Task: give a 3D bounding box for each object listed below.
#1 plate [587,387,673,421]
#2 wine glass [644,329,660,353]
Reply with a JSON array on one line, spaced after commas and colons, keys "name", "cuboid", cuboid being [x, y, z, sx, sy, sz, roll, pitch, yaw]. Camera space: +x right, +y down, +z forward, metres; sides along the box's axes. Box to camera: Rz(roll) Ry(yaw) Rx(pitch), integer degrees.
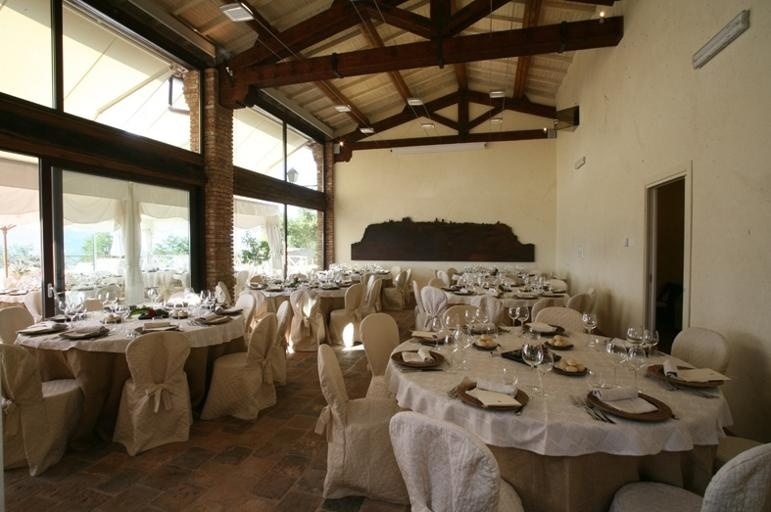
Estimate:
[{"name": "plate", "cuboid": [2.125, 1.309, 4.454, 0.702, 0.224, 0.272, -1, -3, -5]}, {"name": "wine glass", "cuboid": [2.645, 0.856, 5.094, 0.111, 0.246, 0.521, -2, -3, 31]}]
